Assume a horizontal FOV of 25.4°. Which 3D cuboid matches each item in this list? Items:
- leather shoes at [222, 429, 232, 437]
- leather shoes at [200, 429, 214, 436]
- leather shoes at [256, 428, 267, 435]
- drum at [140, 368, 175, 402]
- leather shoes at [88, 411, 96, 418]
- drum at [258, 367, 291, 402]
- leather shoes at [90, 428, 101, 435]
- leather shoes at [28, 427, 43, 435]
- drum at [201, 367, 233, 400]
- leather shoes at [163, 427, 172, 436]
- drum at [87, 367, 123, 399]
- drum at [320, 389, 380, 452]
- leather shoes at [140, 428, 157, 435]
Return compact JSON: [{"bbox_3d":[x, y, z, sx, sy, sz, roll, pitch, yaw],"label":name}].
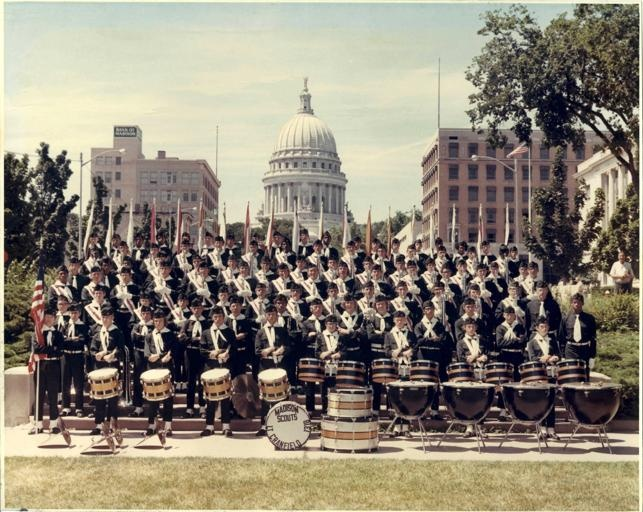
[{"bbox_3d":[-2.655,4.981,40.019,0.174,0.145,0.395,2,-8,-18],"label":"leather shoes"},{"bbox_3d":[-3.219,4.973,40.054,0.383,0.156,0.145,0,-2,18],"label":"leather shoes"},{"bbox_3d":[-1.695,4.972,40.103,0.344,0.230,0.202,8,-12,-15],"label":"leather shoes"},{"bbox_3d":[-4.542,3.599,39.302,0.820,0.615,0.812,-7,8,1],"label":"drum"},{"bbox_3d":[-6.577,4.549,40.731,0.114,0.134,0.337,3,0,-18],"label":"leather shoes"},{"bbox_3d":[-1.324,3.658,39.384,0.697,0.564,0.749,-6,3,0],"label":"drum"},{"bbox_3d":[-6.383,4.921,40.044,0.219,0.214,0.336,0,-4,-38],"label":"leather shoes"},{"bbox_3d":[-8.100,4.962,40.390,0.478,0.206,0.165,2,1,11],"label":"leather shoes"},{"bbox_3d":[-2.881,3.605,39.510,0.877,0.580,0.878,-6,7,1],"label":"drum"},{"bbox_3d":[-4.309,4.955,40.056,0.189,0.191,0.212,4,-22,-8],"label":"leather shoes"},{"bbox_3d":[-5.977,3.535,39.284,0.820,0.622,0.825,-5,1,0],"label":"drum"},{"bbox_3d":[0.795,4.461,39.308,1.371,1.725,1.629,0,-1,3],"label":"drum"},{"bbox_3d":[-4.858,4.963,40.181,0.359,0.157,0.188,2,1,9],"label":"leather shoes"}]
